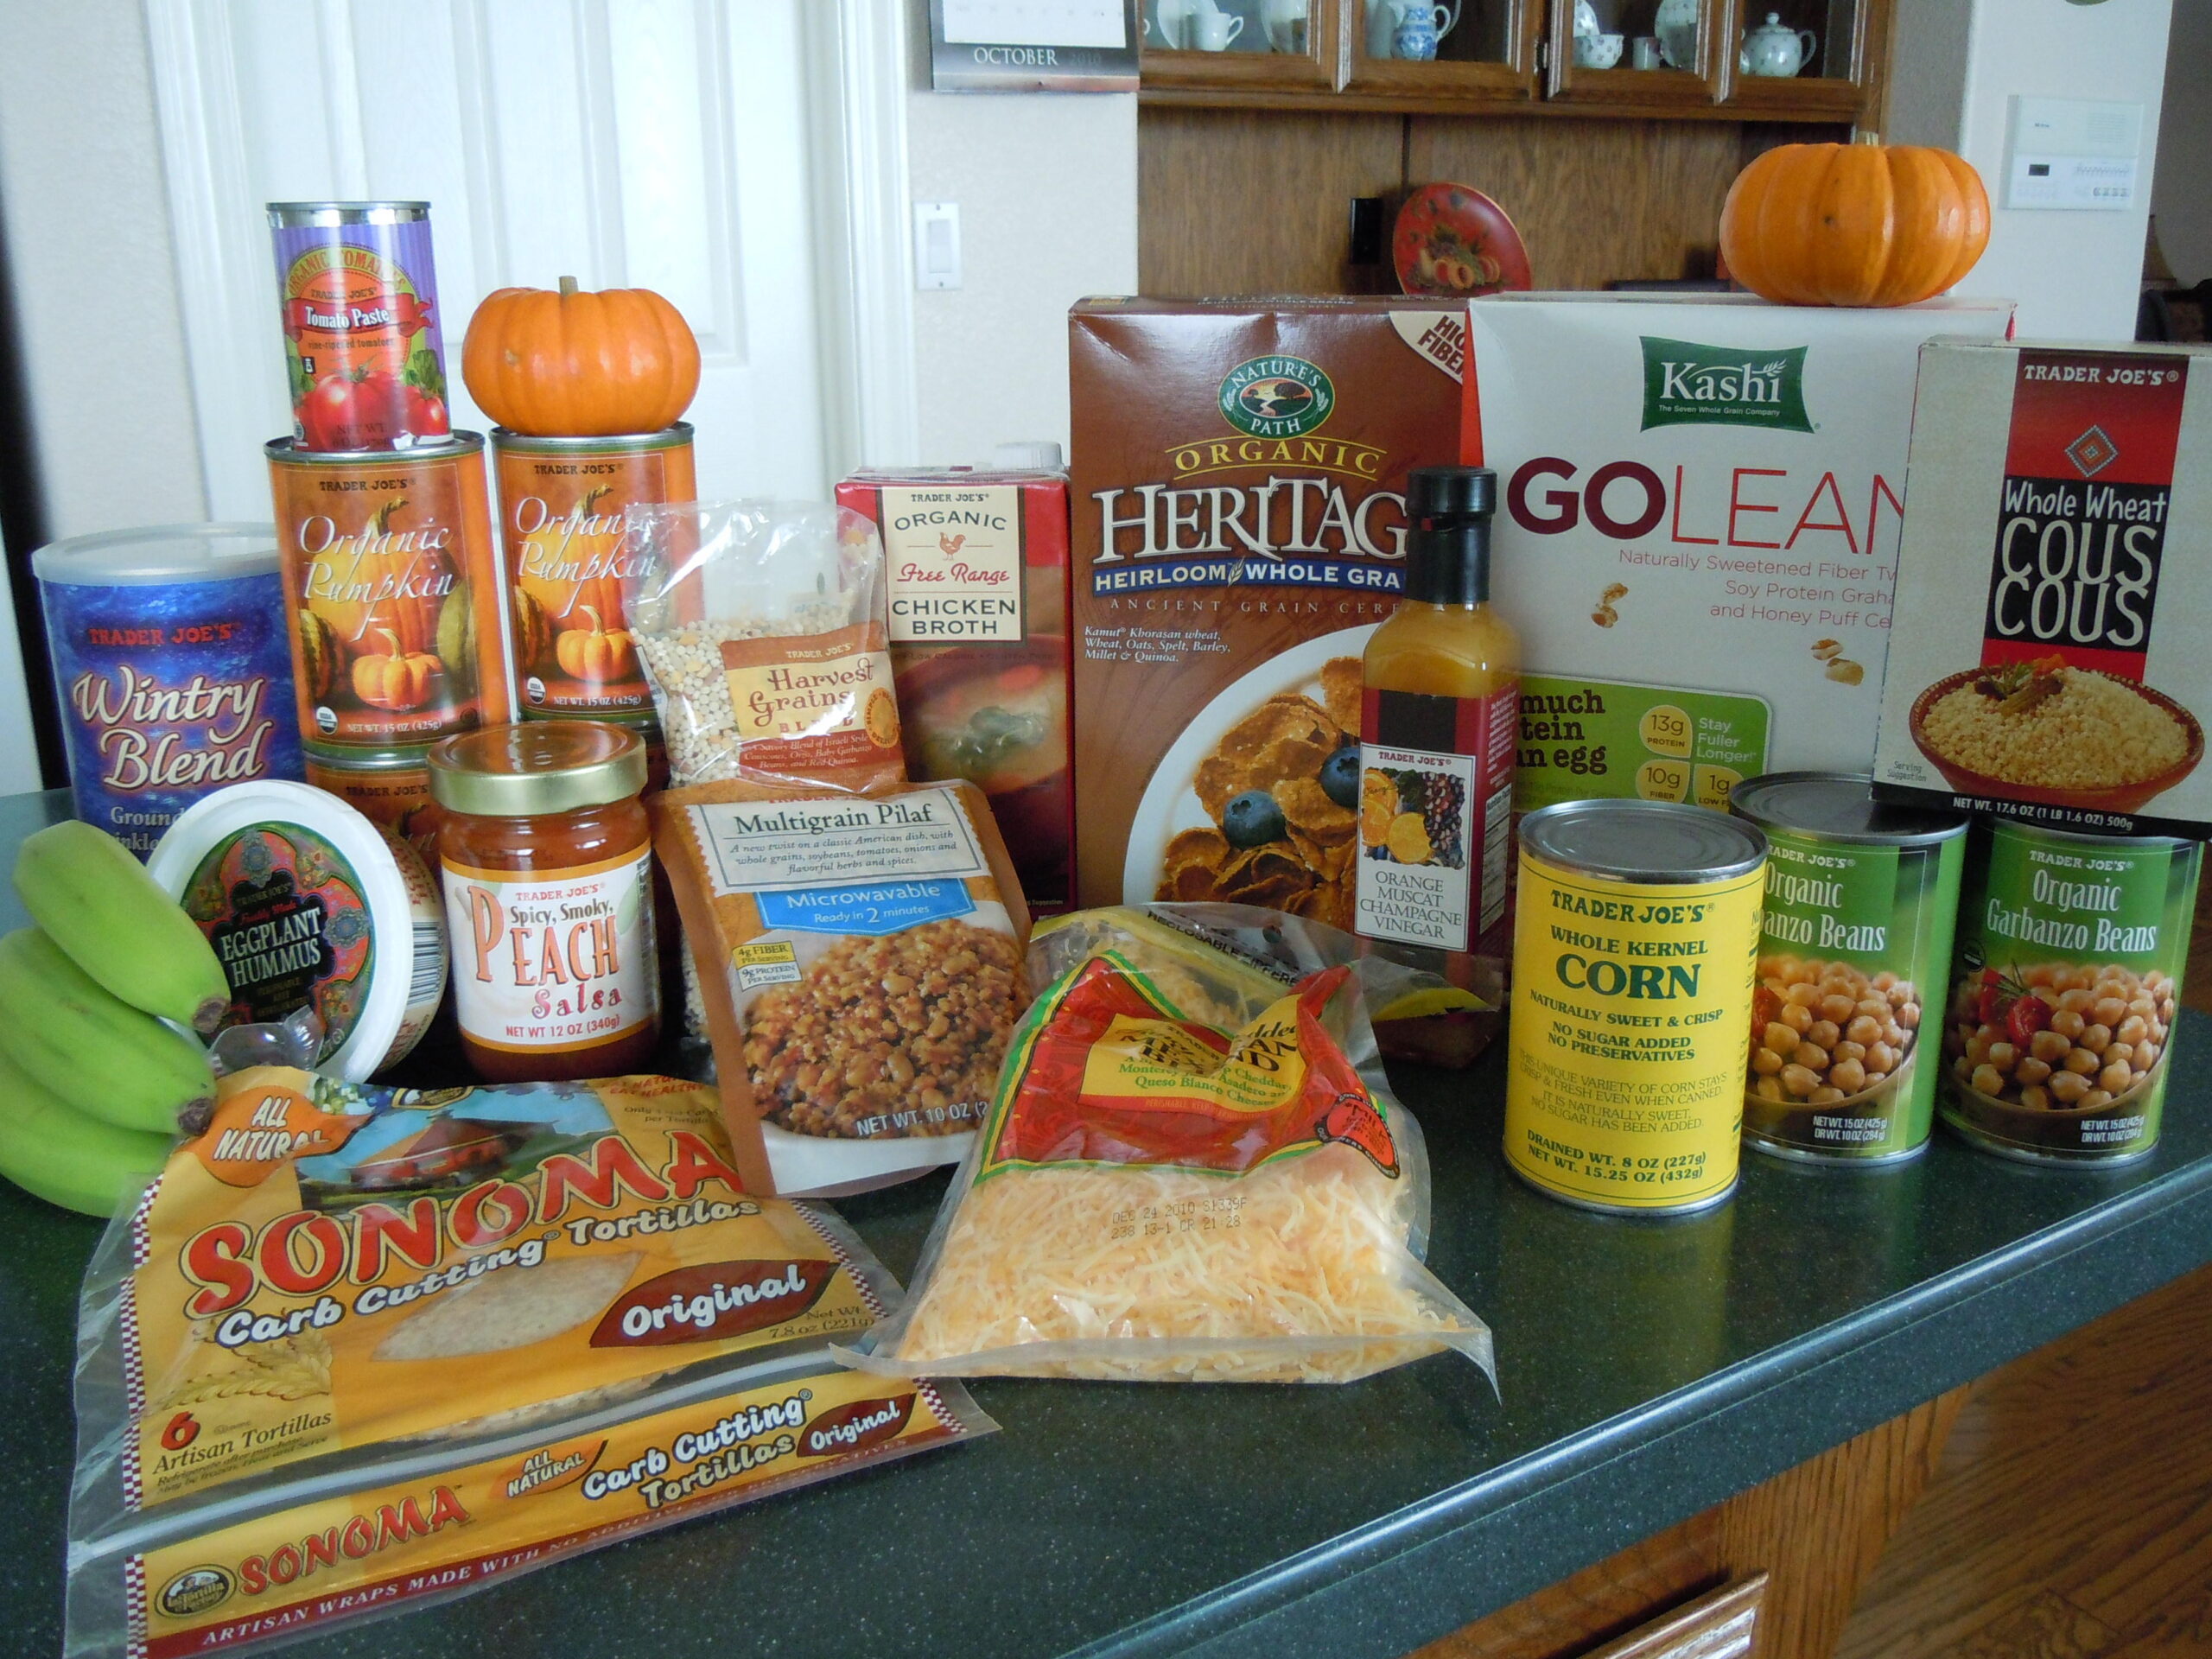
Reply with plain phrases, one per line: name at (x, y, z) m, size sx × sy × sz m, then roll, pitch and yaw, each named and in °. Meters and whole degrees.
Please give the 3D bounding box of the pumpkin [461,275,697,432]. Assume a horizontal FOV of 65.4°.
pumpkin at (-0.303, -0.270, 1.002) m, size 0.129 × 0.071 × 0.109 m, roll -2°, pitch 16°, yaw -3°

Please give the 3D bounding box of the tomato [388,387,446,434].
tomato at (-0.372, -0.230, 0.941) m, size 0.028 × 0.023 × 0.024 m, roll -26°, pitch 24°, yaw -9°

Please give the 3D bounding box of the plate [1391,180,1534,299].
plate at (0.670, -1.133, 3.277) m, size 0.244 × 0.195 × 0.201 m, roll -1°, pitch 20°, yaw 7°

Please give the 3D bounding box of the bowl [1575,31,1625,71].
bowl at (0.985, -1.557, 3.442) m, size 0.103 × 0.060 × 0.096 m, roll -2°, pitch 24°, yaw 1°

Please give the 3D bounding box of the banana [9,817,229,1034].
banana at (-0.477, 0.043, 0.878) m, size 0.138 × 0.052 × 0.064 m, roll 35°, pitch 75°, yaw 21°

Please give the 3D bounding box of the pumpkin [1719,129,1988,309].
pumpkin at (0.399, -0.315, 0.935) m, size 0.133 × 0.074 × 0.109 m, roll -5°, pitch 13°, yaw -3°

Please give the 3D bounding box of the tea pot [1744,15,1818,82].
tea pot at (1.429, -1.671, 3.678) m, size 0.133 × 0.119 × 0.203 m, roll 23°, pitch 38°, yaw 35°

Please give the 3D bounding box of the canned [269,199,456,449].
canned at (-0.401, -0.271, 0.926) m, size 0.090 × 0.128 × 0.060 m, roll -9°, pitch 22°, yaw -15°
